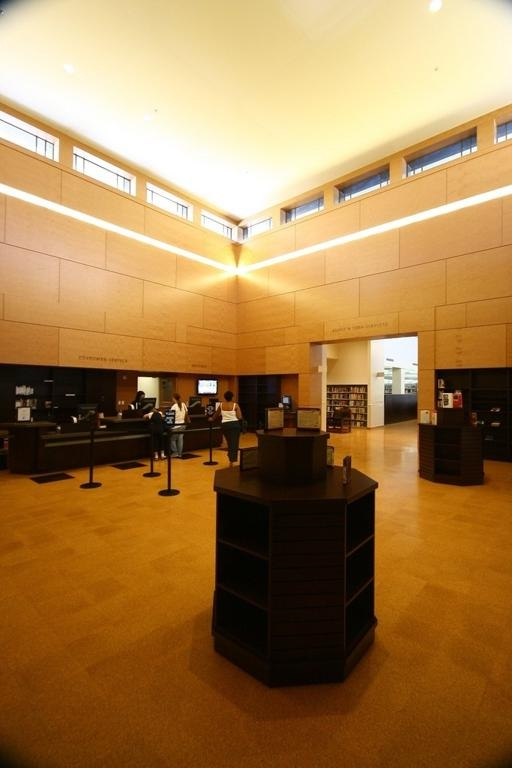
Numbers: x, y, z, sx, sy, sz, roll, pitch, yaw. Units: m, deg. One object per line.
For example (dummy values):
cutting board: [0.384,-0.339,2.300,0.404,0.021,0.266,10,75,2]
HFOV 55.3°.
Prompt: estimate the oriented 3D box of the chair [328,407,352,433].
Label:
chair: [2.530,1.171,14.978,0.587,1.000,0.842,2,-5,-39]

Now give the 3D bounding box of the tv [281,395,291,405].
tv: [0.786,0.463,12.545,0.173,0.392,0.225,8,-11,-38]

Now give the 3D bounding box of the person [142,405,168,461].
person: [-1.724,0.898,8.400,0.370,0.839,0.939,-1,5,-13]

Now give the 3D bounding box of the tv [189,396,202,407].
tv: [-1.362,0.412,10.962,0.208,0.264,0.175,1,-8,-13]

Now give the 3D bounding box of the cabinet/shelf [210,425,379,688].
cabinet/shelf: [0.227,0.887,2.938,0.908,1.277,0.982,7,13,35]

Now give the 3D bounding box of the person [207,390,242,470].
person: [-0.441,0.650,7.555,0.456,1.214,0.422,2,16,18]
